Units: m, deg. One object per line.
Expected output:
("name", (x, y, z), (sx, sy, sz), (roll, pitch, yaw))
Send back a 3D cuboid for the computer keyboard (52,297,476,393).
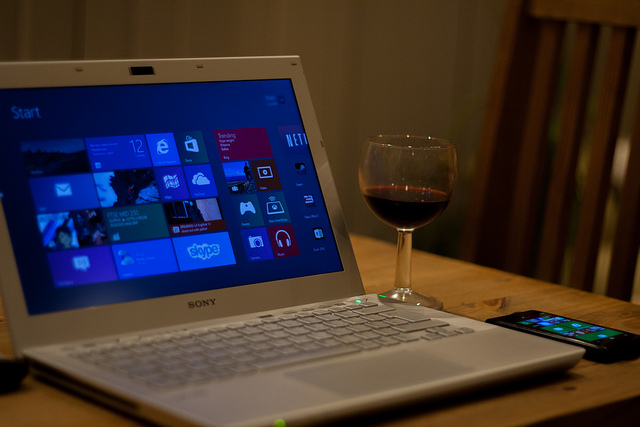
("computer keyboard", (-0.057, 0.157, 0.631), (0.502, 0.019, 0.160), (-2, 10, -24))
